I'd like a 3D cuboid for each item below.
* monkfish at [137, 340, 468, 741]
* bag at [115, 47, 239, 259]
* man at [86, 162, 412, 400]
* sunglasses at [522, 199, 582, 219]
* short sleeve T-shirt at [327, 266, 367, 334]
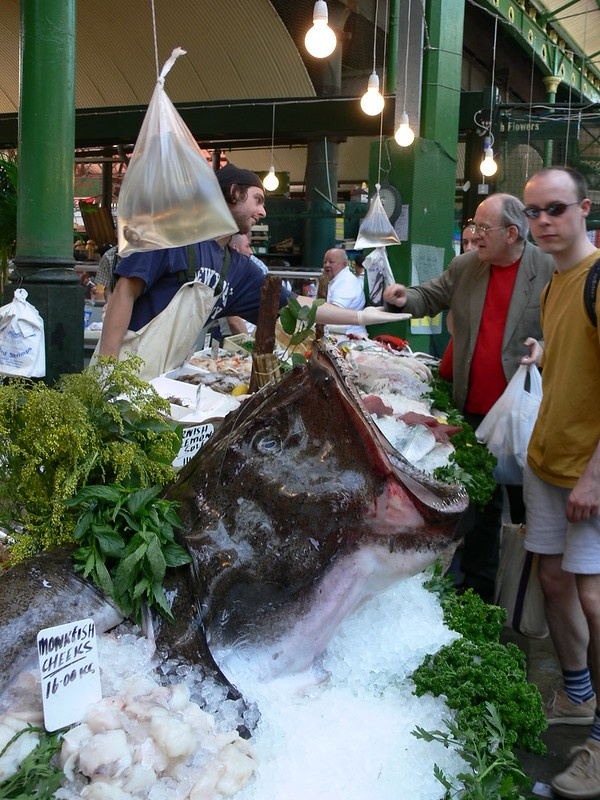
[{"bbox_3d":[-0.022,0.210,1.135,0.499,0.587,0.303,-5,13,-29],"label":"monkfish"},{"bbox_3d":[-0.407,-0.769,1.878,0.356,0.619,0.301,-4,14,-7],"label":"bag"},{"bbox_3d":[-0.233,-0.177,2.598,1.083,1.395,0.502,9,1,-6],"label":"man"},{"bbox_3d":[0.855,-0.649,2.145,0.176,0.061,0.089,5,11,18],"label":"sunglasses"},{"bbox_3d":[0.584,-1.202,7.637,0.486,0.768,0.822,-3,13,18],"label":"short sleeve T-shirt"}]
